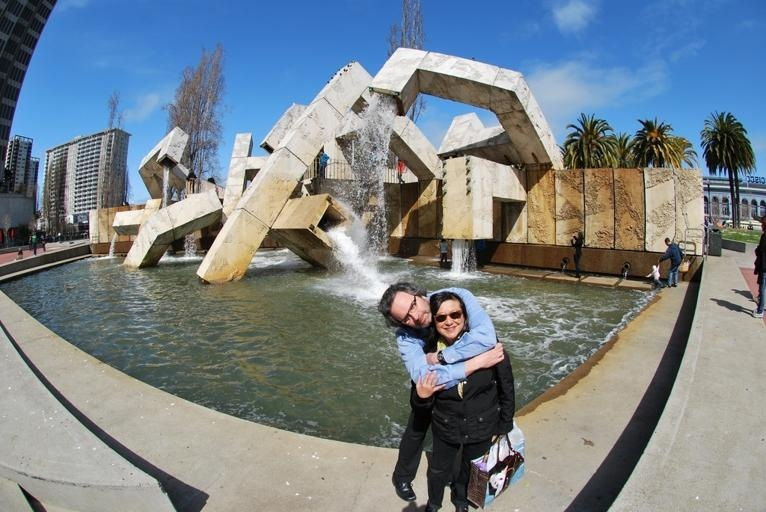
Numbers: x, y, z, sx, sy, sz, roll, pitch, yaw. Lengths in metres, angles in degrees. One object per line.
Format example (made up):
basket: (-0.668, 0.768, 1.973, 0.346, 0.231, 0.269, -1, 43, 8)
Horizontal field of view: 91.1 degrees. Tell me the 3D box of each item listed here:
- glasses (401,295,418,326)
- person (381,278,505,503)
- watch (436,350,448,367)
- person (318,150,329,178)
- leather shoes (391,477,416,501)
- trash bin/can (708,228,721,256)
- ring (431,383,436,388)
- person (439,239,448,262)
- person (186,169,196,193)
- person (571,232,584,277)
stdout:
glasses: (0.233, 0.459, 3.101, 0.101, 0.172, 0.239, 19, 34, 36)
person: (0.472, 1.283, 3.205, 0.939, 1.795, 0.522, 1, 0, 16)
watch: (0.473, 0.859, 3.093, 0.074, 0.100, 0.111, -22, 34, -6)
person: (-3.498, -5.273, 21.949, 0.543, 1.194, 0.826, 0, 1, -6)
leather shoes: (0.158, 2.188, 3.493, 0.126, 0.140, 0.314, 7, -14, -24)
trash bin/can: (13.612, -0.458, 15.545, 0.422, 1.372, 0.656, 1, 0, 36)
ring: (0.393, 1.037, 2.966, 0.033, 0.028, 0.004, 0, 0, -19)
person: (2.802, -0.177, 17.526, 0.334, 1.044, 0.465, 0, 0, 5)
person: (-11.723, -4.491, 23.149, 0.487, 0.905, 0.461, 0, 0, -25)
person: (7.151, -0.047, 13.934, 0.410, 1.858, 1.349, 0, 1, 27)
